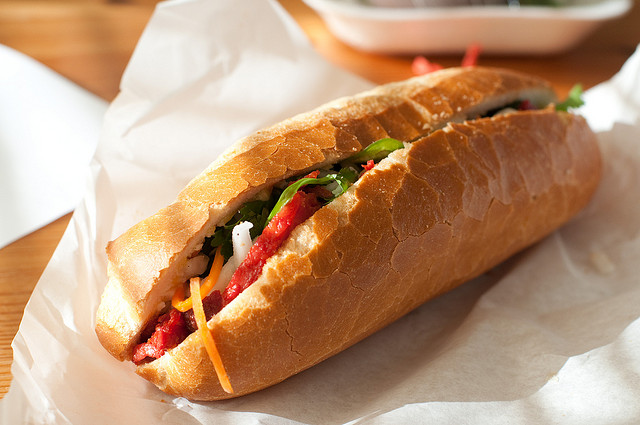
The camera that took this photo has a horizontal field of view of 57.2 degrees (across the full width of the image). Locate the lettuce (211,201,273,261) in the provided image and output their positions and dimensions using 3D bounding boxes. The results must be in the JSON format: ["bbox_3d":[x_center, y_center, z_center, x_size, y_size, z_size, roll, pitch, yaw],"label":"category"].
[{"bbox_3d":[-0.333,0.080,2.550,0.239,0.057,0.249,4,88,-40],"label":"lettuce"}]

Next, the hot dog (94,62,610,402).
[{"bbox_3d":[0.177,0.065,2.785,2.486,0.644,1.145,-36,68,-15],"label":"hot dog"}]

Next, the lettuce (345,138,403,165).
[{"bbox_3d":[0.271,-0.281,2.722,0.200,0.125,0.048,-32,69,-3],"label":"lettuce"}]
